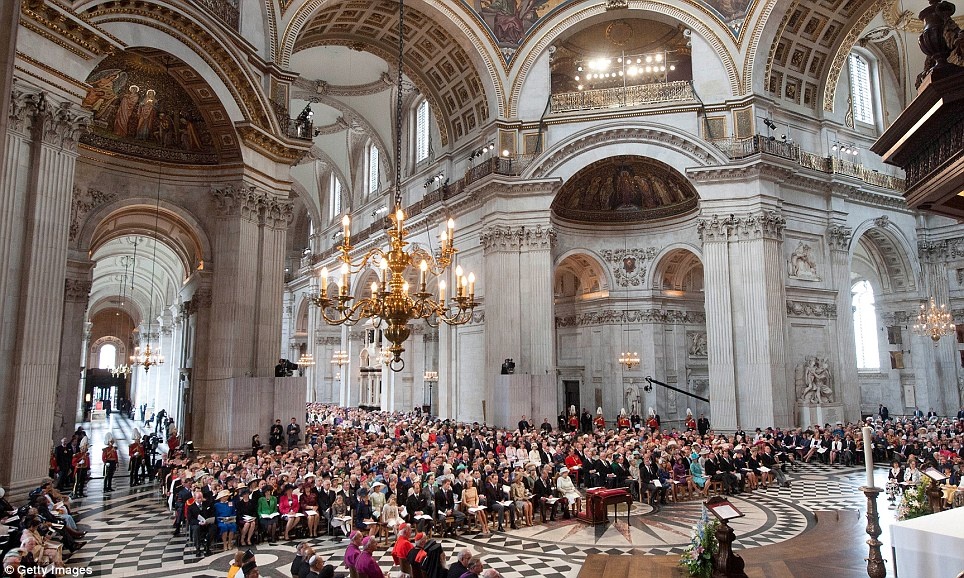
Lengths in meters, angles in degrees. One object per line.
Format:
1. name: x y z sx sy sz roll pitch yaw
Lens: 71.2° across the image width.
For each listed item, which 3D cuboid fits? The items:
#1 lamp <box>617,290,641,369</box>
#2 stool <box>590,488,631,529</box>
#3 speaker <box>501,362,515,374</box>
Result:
1. lamp: 7.357 1.955 33.687 1.088 3.863 1.084 -4 -13 10
2. stool: 3.779 6.373 20.138 1.206 1.155 1.034 3 -13 -16
3. speaker: 1.179 3.359 29.506 0.558 0.743 0.513 3 -10 -17
